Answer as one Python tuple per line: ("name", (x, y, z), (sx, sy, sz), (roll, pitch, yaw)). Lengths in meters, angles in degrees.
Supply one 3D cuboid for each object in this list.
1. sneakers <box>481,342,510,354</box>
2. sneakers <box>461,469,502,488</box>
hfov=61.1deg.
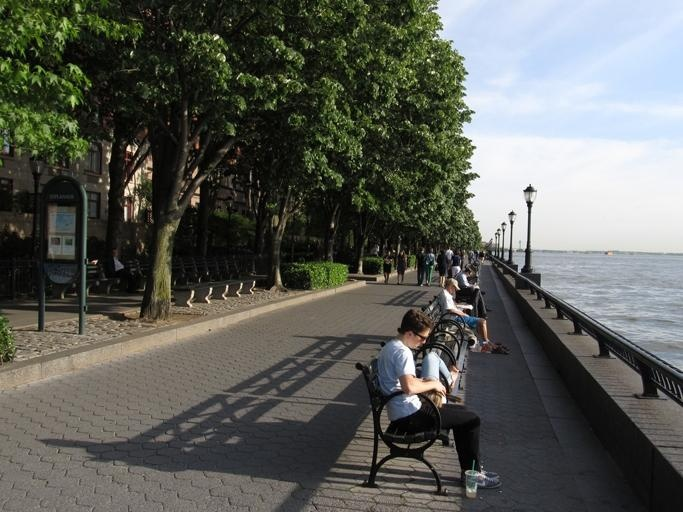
("sneakers", (3.104, 1.846, 11.741), (0.636, 0.245, 0.231), (2, 14, 2))
("sneakers", (1.443, 2.223, 5.778), (0.249, 0.087, 0.255), (7, -6, -4))
